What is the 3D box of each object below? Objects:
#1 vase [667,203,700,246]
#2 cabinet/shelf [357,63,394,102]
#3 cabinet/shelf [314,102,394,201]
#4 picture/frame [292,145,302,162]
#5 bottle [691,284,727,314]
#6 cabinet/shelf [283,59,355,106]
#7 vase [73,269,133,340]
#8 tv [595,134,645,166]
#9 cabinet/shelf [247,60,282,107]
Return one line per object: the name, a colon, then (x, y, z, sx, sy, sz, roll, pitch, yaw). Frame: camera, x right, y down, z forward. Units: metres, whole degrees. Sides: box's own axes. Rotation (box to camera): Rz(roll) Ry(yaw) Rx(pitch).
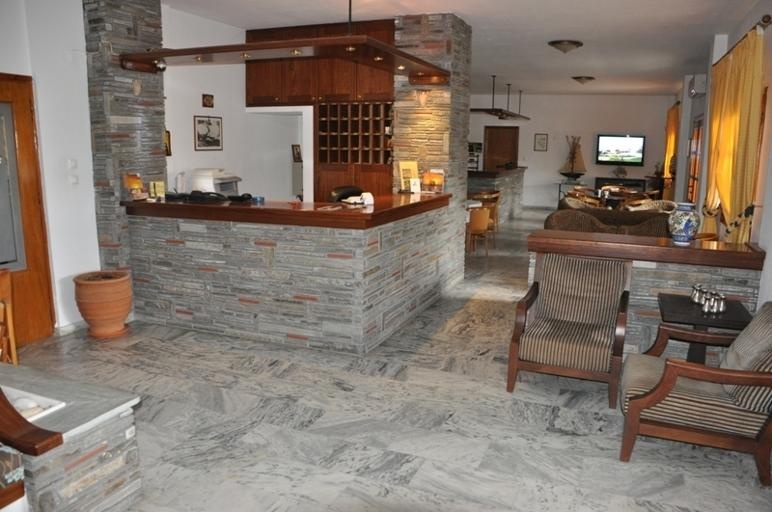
vase: (2.754, -0.300, 4.691, 0.227, 0.380, 0.261, 7, 16, 26)
cabinet/shelf: (-0.188, -2.614, 7.609, 0.594, 0.536, 0.147, 7, 17, 29)
cabinet/shelf: (-0.517, -1.636, 7.977, 1.303, 1.531, 0.289, 3, 16, 15)
picture/frame: (-1.638, -1.851, 9.101, 0.051, 0.302, 0.409, -5, -1, 20)
bottle: (2.585, 0.350, 4.131, 0.285, 0.085, 0.258, 9, 15, 32)
cabinet/shelf: (-1.023, -2.731, 7.859, 1.348, 0.603, 0.428, 4, 12, 17)
vase: (-3.035, 0.554, 5.403, 0.604, 0.487, 0.534, -5, -1, -16)
tv: (6.959, -3.171, 14.929, 1.318, 0.687, 0.119, 3, 14, 19)
cabinet/shelf: (-1.988, -2.773, 8.115, 0.626, 0.712, 0.189, 2, 15, 11)
